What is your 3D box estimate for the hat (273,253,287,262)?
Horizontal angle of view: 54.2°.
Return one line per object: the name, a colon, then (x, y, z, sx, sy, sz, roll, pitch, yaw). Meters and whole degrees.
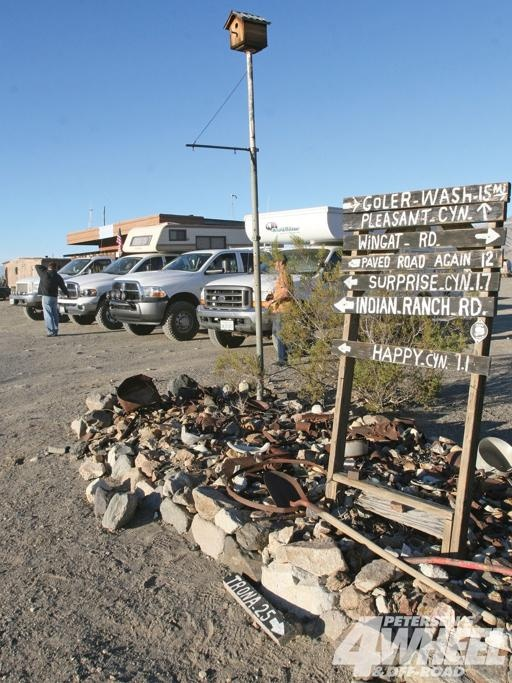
hat: (0.284, -0.965, 5.875, 0.186, 0.122, 0.191, 0, 10, -1)
